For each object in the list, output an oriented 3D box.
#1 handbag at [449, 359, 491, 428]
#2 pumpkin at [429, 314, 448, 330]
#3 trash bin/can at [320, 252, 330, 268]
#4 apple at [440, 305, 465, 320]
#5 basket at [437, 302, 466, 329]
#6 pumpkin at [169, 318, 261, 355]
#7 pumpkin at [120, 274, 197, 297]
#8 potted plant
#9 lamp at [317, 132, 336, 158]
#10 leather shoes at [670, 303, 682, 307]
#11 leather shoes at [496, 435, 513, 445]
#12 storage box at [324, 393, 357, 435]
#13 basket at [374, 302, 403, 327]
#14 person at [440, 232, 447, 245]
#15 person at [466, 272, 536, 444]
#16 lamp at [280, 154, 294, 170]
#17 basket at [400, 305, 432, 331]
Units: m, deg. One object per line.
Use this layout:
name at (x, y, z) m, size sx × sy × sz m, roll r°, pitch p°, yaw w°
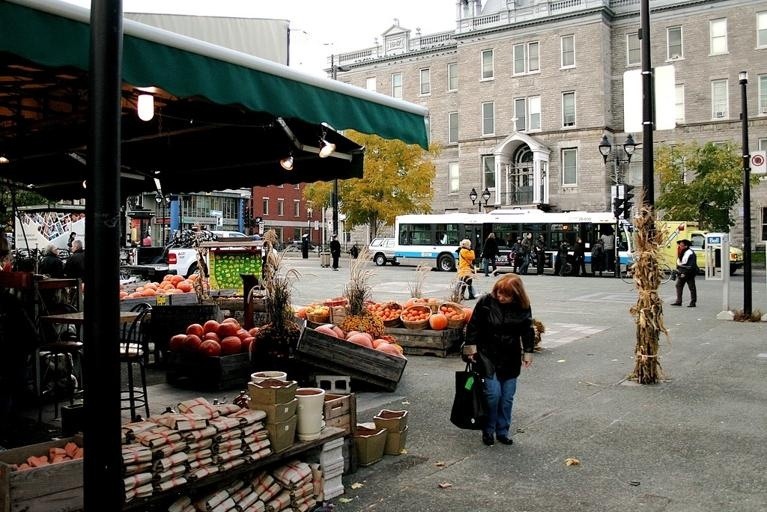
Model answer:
handbag at (1.053, 1.750, 8.224) m, size 0.435 × 0.824 × 0.330 m, roll 2°, pitch 5°, yaw 9°
pumpkin at (1.022, 1.272, 12.875) m, size 0.293 × 0.279 × 0.287 m, roll -10°, pitch -6°, yaw -23°
trash bin/can at (-3.403, 0.299, 40.476) m, size 0.800 × 0.742 × 0.779 m, roll 0°, pitch -1°, yaw -24°
apple at (1.355, 1.079, 13.069) m, size 0.300 × 0.119 × 0.308 m, roll 9°, pitch 10°, yaw 37°
basket at (1.337, 1.149, 12.991) m, size 0.444 × 0.171 × 0.454 m, roll 23°, pitch 27°, yaw 32°
pumpkin at (-2.587, 1.259, 10.256) m, size 0.924 × 0.327 × 0.678 m, roll 1°, pitch -1°, yaw -13°
pumpkin at (-4.652, 0.690, 14.056) m, size 0.796 × 0.312 × 1.510 m, roll 5°, pitch 8°, yaw 41°
potted plant at (-1.477, 0.877, 9.448) m, size 0.713 × 1.857 × 1.422 m, roll 0°, pitch 6°, yaw -12°
lamp at (-0.896, -1.785, 10.767) m, size 0.256 × 0.382 × 0.497 m, roll 1°, pitch 5°, yaw -3°
leather shoes at (8.508, 1.427, 19.693) m, size 0.331 × 0.145 × 0.105 m, roll 5°, pitch 5°, yaw 33°
leather shoes at (1.509, 2.310, 8.418) m, size 0.180 × 0.126 × 0.096 m, roll -4°, pitch 5°, yaw 15°
storage box at (-0.487, 1.772, 7.577) m, size 0.446 × 0.277 × 0.429 m, roll 1°, pitch -3°, yaw -37°
basket at (0.081, 1.136, 13.288) m, size 0.482 × 0.163 × 0.485 m, roll -18°, pitch 20°, yaw -36°
person at (3.447, -0.893, 37.680) m, size 0.516 × 0.844 × 0.464 m, roll 0°, pitch -7°, yaw 8°
person at (1.420, 1.293, 8.459) m, size 0.892 × 2.105 × 0.481 m, roll -3°, pitch 6°, yaw -34°
lamp at (-1.590, -1.517, 11.095) m, size 0.222 × 0.222 × 0.528 m, roll 0°, pitch 6°, yaw -8°
basket at (0.622, 1.192, 13.035) m, size 0.639 × 0.397 × 0.478 m, roll 6°, pitch 7°, yaw 42°
